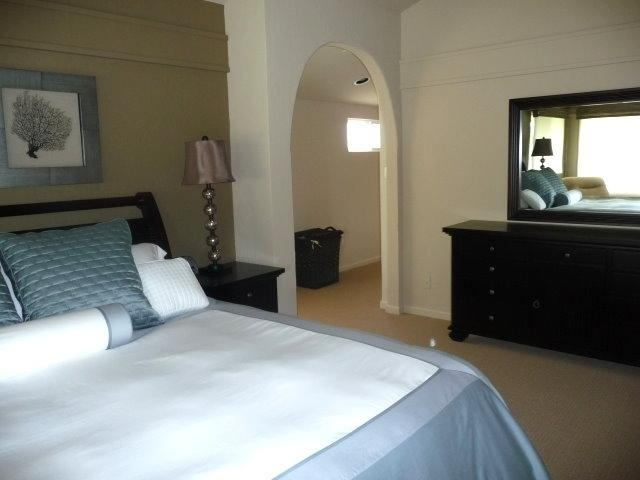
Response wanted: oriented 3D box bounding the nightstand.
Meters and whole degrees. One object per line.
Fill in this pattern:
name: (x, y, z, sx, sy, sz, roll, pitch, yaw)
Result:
nightstand: (-0.663, 0.334, 3.541, 0.422, 0.508, 0.506, 7, 12, 31)
